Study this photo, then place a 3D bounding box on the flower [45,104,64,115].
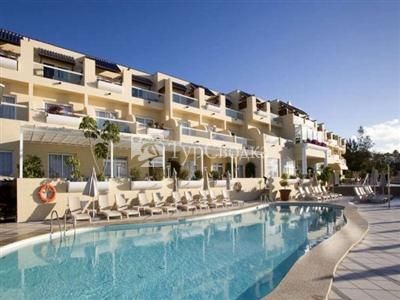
[{"bbox_3d":[-9.988,-2.807,19.867,0.737,0.325,0.819,9,23,-15],"label":"flower"}]
